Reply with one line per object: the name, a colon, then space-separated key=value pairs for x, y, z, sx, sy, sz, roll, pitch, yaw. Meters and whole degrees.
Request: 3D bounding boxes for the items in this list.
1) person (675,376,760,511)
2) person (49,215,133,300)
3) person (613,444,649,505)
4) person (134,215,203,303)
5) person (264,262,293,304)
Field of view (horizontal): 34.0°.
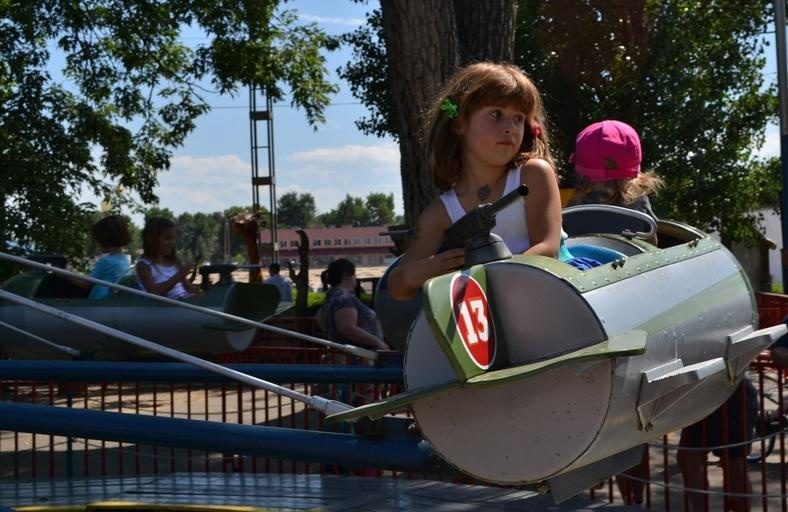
person: x=4.342 y=2.593 z=17.454 sx=1.053 sy=1.889 sz=1.192 roll=-1 pitch=-3 yaw=13
person: x=-4.372 y=0.007 z=19.516 sx=0.763 sy=1.299 sz=1.262 roll=0 pitch=-3 yaw=-8
person: x=3.262 y=3.046 z=17.837 sx=0.426 sy=0.855 sz=1.275 roll=-1 pitch=-3 yaw=9
person: x=-3.413 y=0.028 z=19.261 sx=0.823 sy=1.205 sz=0.543 roll=0 pitch=-3 yaw=-5
person: x=-2.476 y=0.617 z=27.079 sx=0.619 sy=0.906 sz=0.726 roll=-10 pitch=-8 yaw=29
